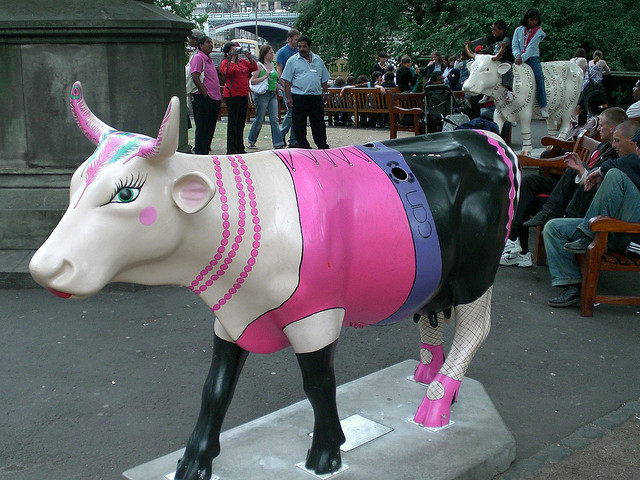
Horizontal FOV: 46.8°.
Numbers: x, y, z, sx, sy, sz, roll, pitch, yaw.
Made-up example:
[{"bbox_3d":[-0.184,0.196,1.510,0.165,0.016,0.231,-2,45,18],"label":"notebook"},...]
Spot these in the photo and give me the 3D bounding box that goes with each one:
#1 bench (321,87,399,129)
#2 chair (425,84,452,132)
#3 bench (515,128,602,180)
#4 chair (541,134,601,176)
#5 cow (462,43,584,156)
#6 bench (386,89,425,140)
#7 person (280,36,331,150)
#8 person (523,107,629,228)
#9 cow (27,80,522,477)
[{"bbox_3d":[1.143,-3.450,19.493,2.173,0.928,0.719,6,8,30],"label":"bench"},{"bbox_3d":[2.407,-2.590,14.680,0.541,0.959,0.896,2,15,9],"label":"chair"},{"bbox_3d":[2.793,-0.805,8.597,0.701,0.908,0.548,11,12,-2],"label":"bench"},{"bbox_3d":[3.102,-1.040,9.248,0.513,0.669,0.531,17,8,33],"label":"chair"},{"bbox_3d":[3.531,-2.347,12.607,2.530,1.735,0.928,-2,9,-27],"label":"cow"},{"bbox_3d":[2.097,-2.754,16.924,0.851,1.271,0.863,4,15,19],"label":"bench"},{"bbox_3d":[-0.212,-2.362,12.004,0.759,1.783,0.672,-1,14,-3],"label":"person"},{"bbox_3d":[2.502,-0.797,7.765,0.838,1.106,0.841,21,37,34],"label":"person"},{"bbox_3d":[-0.164,0.220,4.138,2.692,2.068,0.713,-9,16,-27],"label":"cow"}]
